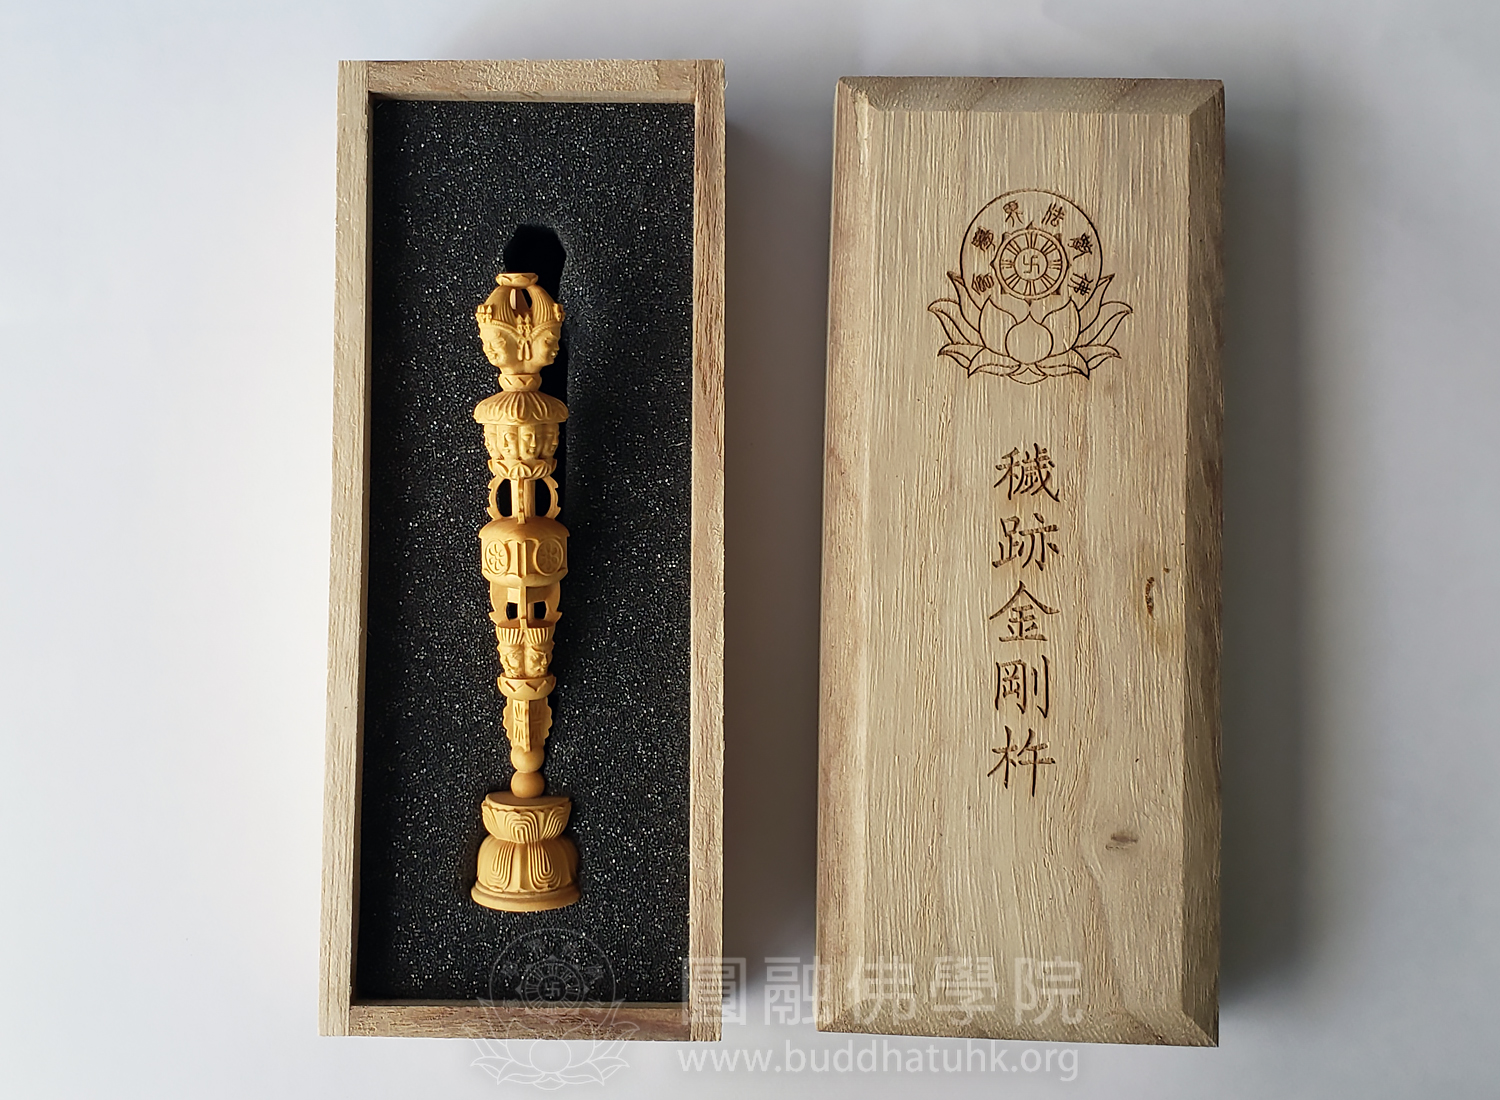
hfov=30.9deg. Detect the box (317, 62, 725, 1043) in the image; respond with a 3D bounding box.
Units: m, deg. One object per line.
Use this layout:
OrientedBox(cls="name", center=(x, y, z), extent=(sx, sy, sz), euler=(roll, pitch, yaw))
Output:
OrientedBox(cls="box", center=(-0.266, 0.014, 2.954), extent=(0.492, 1.092, 0.186), euler=(-1, 0, 0))
